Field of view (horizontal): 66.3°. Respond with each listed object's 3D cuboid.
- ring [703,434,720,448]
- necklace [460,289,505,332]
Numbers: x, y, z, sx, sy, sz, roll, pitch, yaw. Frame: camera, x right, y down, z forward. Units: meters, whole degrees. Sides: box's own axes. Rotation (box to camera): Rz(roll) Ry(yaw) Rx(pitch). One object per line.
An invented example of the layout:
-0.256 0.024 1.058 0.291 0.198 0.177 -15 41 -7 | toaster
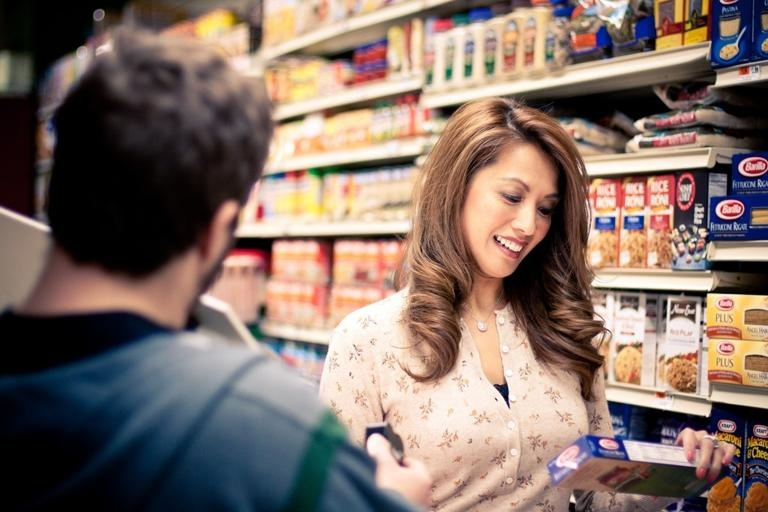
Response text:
1.012 0.568 1.818 0.041 0.028 0.093 0 3 30 | ring
0.337 0.193 2.058 0.085 0.015 0.224 24 45 4 | necklace
